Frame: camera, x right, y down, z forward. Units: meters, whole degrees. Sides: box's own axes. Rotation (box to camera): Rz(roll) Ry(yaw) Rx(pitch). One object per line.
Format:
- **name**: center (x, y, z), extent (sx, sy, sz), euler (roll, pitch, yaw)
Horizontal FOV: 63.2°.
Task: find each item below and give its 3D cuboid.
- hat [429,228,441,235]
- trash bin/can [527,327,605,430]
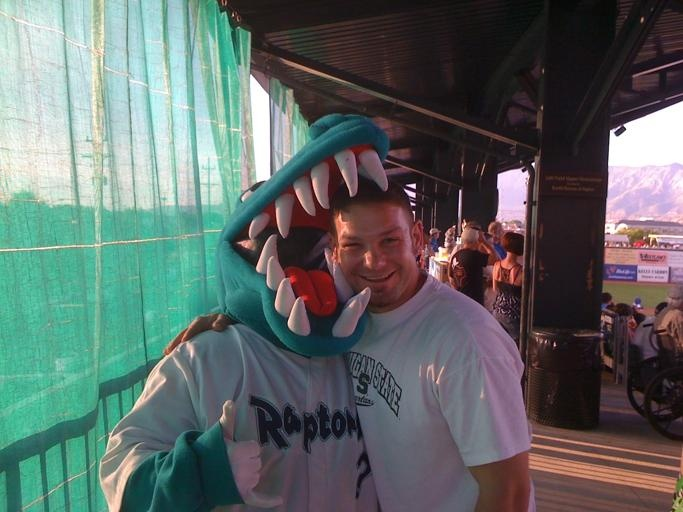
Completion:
- **hat**: center (2.315, -0.599, 13.808), extent (0.271, 0.159, 0.438), euler (-1, -3, 8)
- **trash bin/can**: center (1.904, 1.013, 5.008), extent (0.641, 0.918, 0.716), euler (0, 1, -6)
